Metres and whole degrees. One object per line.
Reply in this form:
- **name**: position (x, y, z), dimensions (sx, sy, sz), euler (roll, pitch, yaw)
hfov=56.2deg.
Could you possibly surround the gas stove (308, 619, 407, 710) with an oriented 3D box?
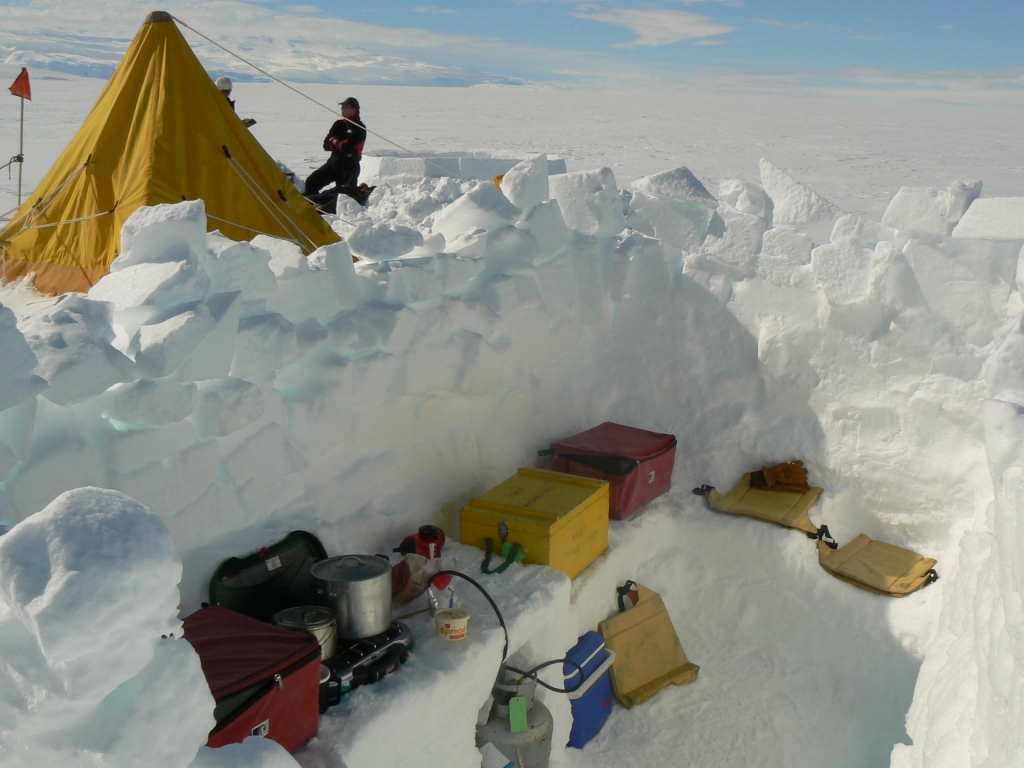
- **gas stove**: position (-0.655, 1.136, 4.151), dimensions (0.431, 0.158, 0.533), euler (-20, 19, -23)

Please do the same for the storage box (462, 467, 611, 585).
- **storage box**: position (0.169, 0.657, 5.125), dimensions (0.822, 0.500, 0.752), euler (10, 19, 17)

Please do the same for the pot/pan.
- **pot/pan**: position (-0.731, 0.912, 4.096), dimensions (0.410, 0.345, 0.346), euler (22, 20, 34)
